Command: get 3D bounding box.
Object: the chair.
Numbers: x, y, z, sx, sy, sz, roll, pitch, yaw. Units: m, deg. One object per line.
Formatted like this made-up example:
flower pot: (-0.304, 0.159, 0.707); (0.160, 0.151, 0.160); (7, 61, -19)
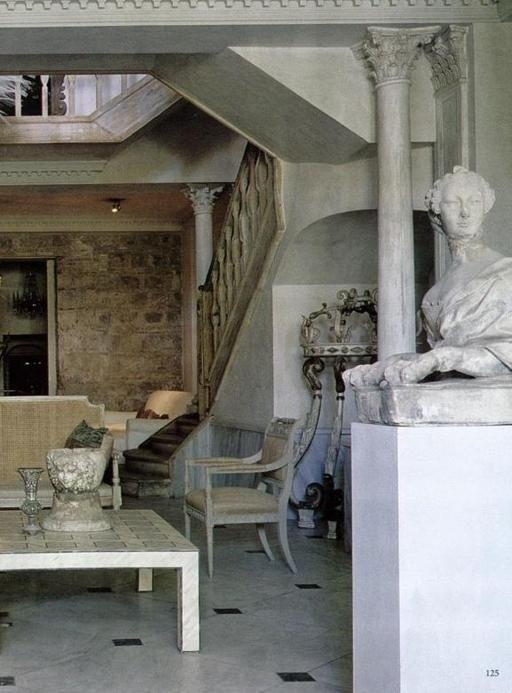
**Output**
chair: (-0.092, 0.878, 4.945); (0.649, 0.878, 0.734); (0, -3, -6)
